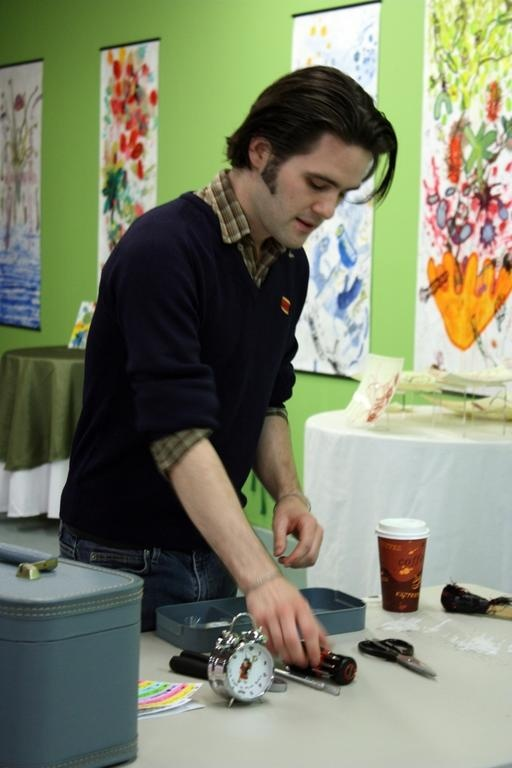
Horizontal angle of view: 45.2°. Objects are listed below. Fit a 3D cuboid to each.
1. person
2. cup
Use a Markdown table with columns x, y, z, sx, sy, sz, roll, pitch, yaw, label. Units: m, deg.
| x | y | z | sx | sy | sz | roll | pitch | yaw | label |
| --- | --- | --- | --- | --- | --- | --- | --- | --- | --- |
| -0.041 | -0.044 | 1.025 | 0.440 | 1.073 | 0.409 | 1 | 1 | 36 | person |
| 0.251 | 0.303 | 1.063 | 0.126 | 0.189 | 0.132 | 0 | -7 | 0 | cup |
